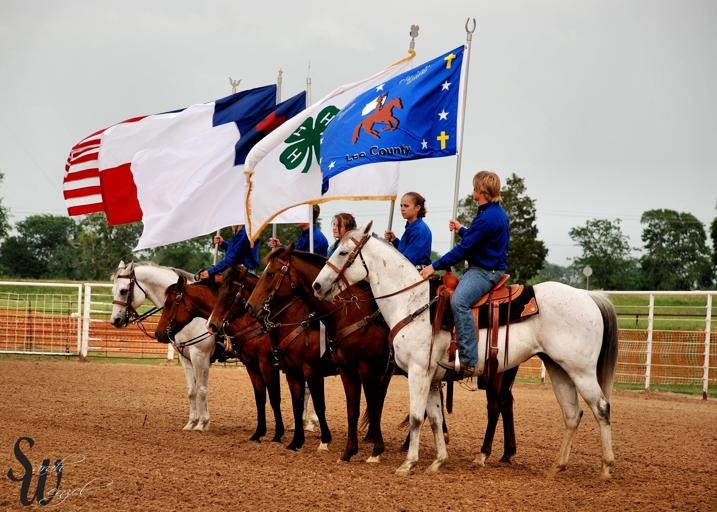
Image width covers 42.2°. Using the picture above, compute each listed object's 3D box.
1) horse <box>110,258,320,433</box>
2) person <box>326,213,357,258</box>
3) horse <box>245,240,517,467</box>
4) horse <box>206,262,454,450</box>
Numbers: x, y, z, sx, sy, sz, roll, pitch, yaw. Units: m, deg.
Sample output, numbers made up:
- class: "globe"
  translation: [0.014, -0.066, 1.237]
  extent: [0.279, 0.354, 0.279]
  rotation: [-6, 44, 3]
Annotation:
- class: "horse"
  translation: [-2.935, 2.030, 20.320]
  extent: [4.858, 3.737, 1.305]
  rotation: [5, -21, -31]
- class: "person"
  translation: [-0.266, -0.452, 18.356]
  extent: [0.450, 0.962, 0.485]
  rotation: [0, 14, -4]
- class: "horse"
  translation: [0.424, 2.203, 17.516]
  extent: [5.170, 3.976, 1.465]
  rotation: [10, -20, -16]
- class: "horse"
  translation: [-0.608, 1.902, 17.392]
  extent: [1.231, 3.523, 4.763]
  rotation: [4, -9, 33]
